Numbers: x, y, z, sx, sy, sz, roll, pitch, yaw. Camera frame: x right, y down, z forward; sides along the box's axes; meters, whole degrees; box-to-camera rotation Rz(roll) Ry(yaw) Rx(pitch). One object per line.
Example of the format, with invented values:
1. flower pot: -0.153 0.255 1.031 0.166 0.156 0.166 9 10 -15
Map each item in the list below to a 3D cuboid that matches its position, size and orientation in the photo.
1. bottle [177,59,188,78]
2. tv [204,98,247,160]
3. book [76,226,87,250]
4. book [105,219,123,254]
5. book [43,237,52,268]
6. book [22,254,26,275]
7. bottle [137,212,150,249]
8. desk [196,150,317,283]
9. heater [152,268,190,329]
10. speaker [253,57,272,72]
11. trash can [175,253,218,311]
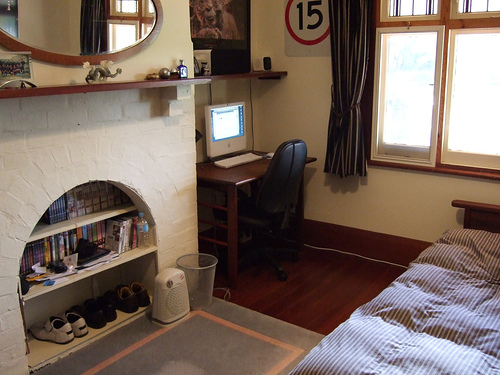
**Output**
1. bottle: -0.514 -0.897 2.909 0.071 0.132 0.132 -4 18 -10
2. tv: -0.167 -0.595 3.903 0.482 0.528 0.173 1 9 40
3. book: -1.226 0.368 2.790 0.053 0.156 0.157 -18 7 -29
4. book: -1.024 0.376 2.920 0.219 0.315 0.041 7 10 36
5. book: -1.387 0.435 2.644 0.029 0.194 0.054 2 17 8
6. book: -1.486 0.507 2.536 0.022 0.113 0.049 -8 18 -22
7. bottle: -0.833 0.333 3.000 0.090 0.273 0.062 -7 17 -19
8. desk: -0.013 -0.005 3.660 1.002 1.042 1.298 9 17 33
9. heater: -0.593 0.809 2.925 0.199 0.408 0.287 14 22 37
10. speaker: 0.128 -1.287 4.045 0.151 0.148 0.152 6 12 21
11. trash can: -0.401 0.702 3.198 0.368 0.399 0.361 9 13 42
